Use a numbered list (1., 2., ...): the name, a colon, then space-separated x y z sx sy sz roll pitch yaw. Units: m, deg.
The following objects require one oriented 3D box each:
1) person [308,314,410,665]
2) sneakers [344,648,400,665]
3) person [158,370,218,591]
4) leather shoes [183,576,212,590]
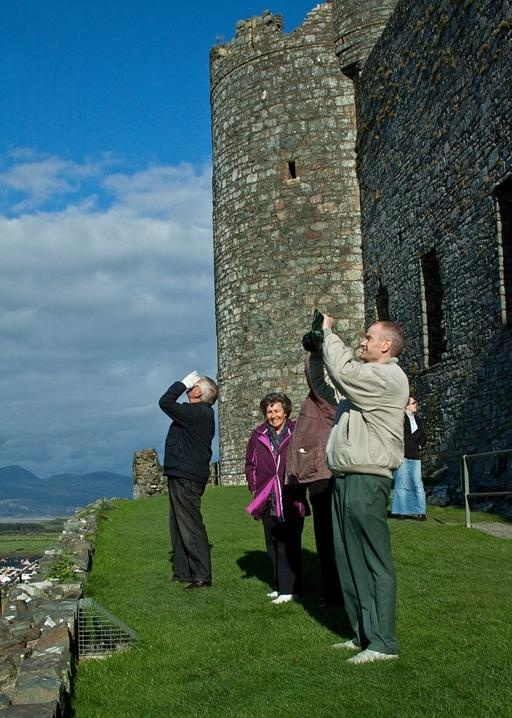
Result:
1. person: 0.619 0.667 3.756 0.568 1.352 0.474 -6 -3 4
2. sneakers: 0.590 1.526 3.522 0.273 0.106 0.088 1 -20 4
3. person: -0.573 1.056 6.247 0.540 1.865 0.585 -5 -3 -7
4. leather shoes: -0.508 1.940 5.973 0.229 0.089 0.095 4 -8 -9
